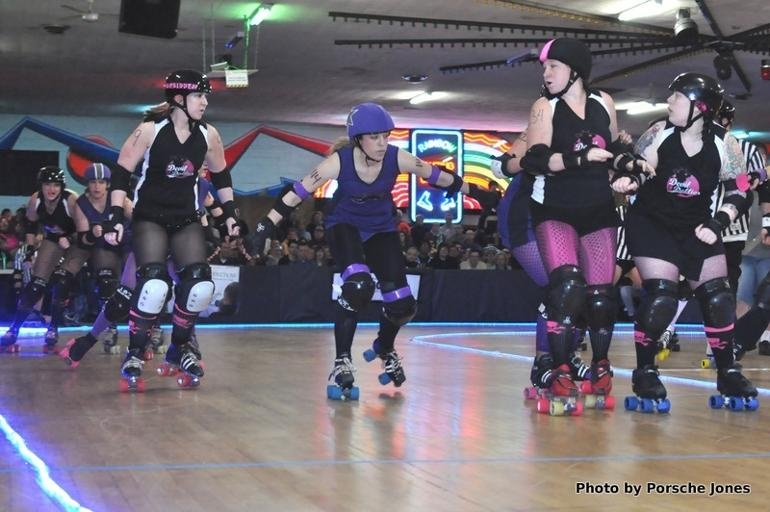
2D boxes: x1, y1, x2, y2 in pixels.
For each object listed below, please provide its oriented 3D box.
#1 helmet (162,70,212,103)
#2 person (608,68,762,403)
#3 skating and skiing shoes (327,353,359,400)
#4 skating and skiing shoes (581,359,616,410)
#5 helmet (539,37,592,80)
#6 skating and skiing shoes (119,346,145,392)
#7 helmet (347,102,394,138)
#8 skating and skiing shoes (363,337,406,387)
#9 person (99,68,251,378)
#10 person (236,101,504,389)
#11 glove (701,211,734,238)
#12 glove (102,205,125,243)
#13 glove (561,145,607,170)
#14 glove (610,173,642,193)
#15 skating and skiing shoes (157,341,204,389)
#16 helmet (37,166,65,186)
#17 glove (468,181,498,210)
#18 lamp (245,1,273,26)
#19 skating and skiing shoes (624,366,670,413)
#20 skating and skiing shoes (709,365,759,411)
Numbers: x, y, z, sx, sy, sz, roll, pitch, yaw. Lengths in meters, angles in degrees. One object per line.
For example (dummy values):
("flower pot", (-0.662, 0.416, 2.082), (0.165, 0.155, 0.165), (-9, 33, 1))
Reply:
("helmet", (-1.481, -1.284, 5.125), (0.324, 0.211, 0.233), (0, 4, -5))
("person", (1.983, -0.108, 4.460), (0.798, 2.200, 0.392), (2, -4, 11))
("skating and skiing shoes", (-0.306, 0.877, 4.943), (0.206, 0.251, 0.394), (1, -3, -10))
("skating and skiing shoes", (1.405, 0.855, 4.505), (0.149, 0.208, 0.458), (0, 2, 5))
("helmet", (1.264, -1.296, 4.548), (0.349, 0.251, 0.257), (14, 3, 18))
("skating and skiing shoes", (-1.856, 0.820, 5.021), (0.155, 0.291, 0.288), (4, -5, -20))
("helmet", (-0.116, -0.972, 4.984), (0.300, 0.264, 0.383), (-15, 15, -33))
("skating and skiing shoes", (0.021, 0.798, 5.237), (0.251, 0.214, 0.440), (4, 30, -30))
("person", (-1.608, -0.220, 5.213), (1.010, 2.309, 0.720), (0, 2, -35))
("person", (-0.164, -0.044, 5.088), (1.396, 2.097, 0.685), (5, -5, -31))
("glove", (2.116, -0.213, 4.375), (0.141, 0.096, 0.237), (27, 21, 26))
("glove", (-2.040, -0.241, 5.122), (0.138, 0.278, 0.231), (4, -5, -23))
("glove", (1.214, -0.599, 4.174), (0.218, 0.085, 0.134), (-4, 18, 12))
("glove", (1.481, -0.456, 4.259), (0.146, 0.119, 0.242), (2, 8, 6))
("skating and skiing shoes", (-1.721, 0.847, 5.480), (0.162, 0.259, 0.524), (23, -15, 26))
("helmet", (-3.795, -0.913, 7.806), (0.229, 0.245, 0.275), (-1, 12, -11))
("glove", (0.786, -0.460, 5.388), (0.238, 0.071, 0.230), (-5, 31, -46))
("lamp", (-1.973, -3.807, 10.747), (0.224, 0.097, 0.387), (2, -14, -36))
("skating and skiing shoes", (1.668, 0.844, 4.387), (0.252, 0.274, 0.269), (3, -4, -4))
("skating and skiing shoes", (2.269, 0.857, 4.444), (0.215, 0.272, 0.359), (2, -7, -6))
